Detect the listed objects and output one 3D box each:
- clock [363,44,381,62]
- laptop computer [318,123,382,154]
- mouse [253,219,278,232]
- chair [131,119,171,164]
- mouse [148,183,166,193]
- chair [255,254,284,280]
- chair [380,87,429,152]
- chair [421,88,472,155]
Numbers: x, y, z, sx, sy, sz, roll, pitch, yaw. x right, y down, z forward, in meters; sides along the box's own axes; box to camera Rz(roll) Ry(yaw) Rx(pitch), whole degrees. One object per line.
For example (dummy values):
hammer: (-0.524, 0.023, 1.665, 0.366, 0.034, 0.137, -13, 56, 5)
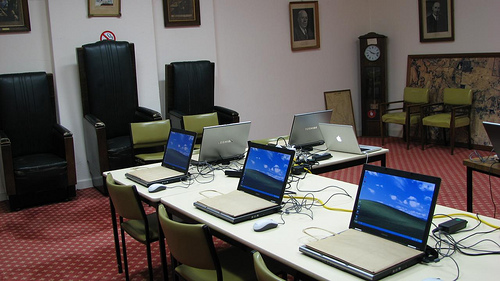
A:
clock: (3.173, -2.268, 8.668, 0.429, 0.412, 0.424, 7, 20, 23)
laptop computer: (1.330, -0.072, 4.535, 0.567, 0.358, 0.511, -7, 8, -15)
mouse: (0.129, 0.738, 2.979, 0.170, 0.052, 0.099, -9, 12, -33)
chair: (-1.688, 0.016, 5.692, 0.710, 0.907, 0.695, -5, 12, -30)
mouse: (-1.044, 0.518, 3.730, 0.090, 0.046, 0.152, 11, 15, 39)
chair: (0.160, 1.006, 2.547, 0.164, 0.243, 0.170, -20, 38, -18)
chair: (3.831, -0.566, 8.169, 0.913, 1.370, 0.877, -11, 14, -26)
chair: (4.488, -0.478, 7.556, 0.890, 1.347, 0.821, -12, 15, -19)
